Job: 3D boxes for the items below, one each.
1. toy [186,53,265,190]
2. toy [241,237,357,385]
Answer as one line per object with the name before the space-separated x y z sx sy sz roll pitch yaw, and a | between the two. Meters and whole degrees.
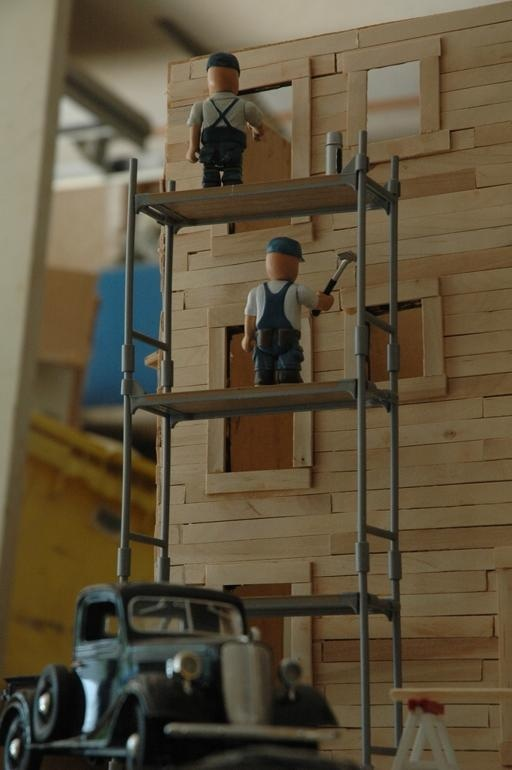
toy | -0.196 -1.573 9.223 0.442 0.926 0.369 2 -10 -1
toy | 0.208 -0.410 8.979 0.588 0.951 0.517 2 -10 2
